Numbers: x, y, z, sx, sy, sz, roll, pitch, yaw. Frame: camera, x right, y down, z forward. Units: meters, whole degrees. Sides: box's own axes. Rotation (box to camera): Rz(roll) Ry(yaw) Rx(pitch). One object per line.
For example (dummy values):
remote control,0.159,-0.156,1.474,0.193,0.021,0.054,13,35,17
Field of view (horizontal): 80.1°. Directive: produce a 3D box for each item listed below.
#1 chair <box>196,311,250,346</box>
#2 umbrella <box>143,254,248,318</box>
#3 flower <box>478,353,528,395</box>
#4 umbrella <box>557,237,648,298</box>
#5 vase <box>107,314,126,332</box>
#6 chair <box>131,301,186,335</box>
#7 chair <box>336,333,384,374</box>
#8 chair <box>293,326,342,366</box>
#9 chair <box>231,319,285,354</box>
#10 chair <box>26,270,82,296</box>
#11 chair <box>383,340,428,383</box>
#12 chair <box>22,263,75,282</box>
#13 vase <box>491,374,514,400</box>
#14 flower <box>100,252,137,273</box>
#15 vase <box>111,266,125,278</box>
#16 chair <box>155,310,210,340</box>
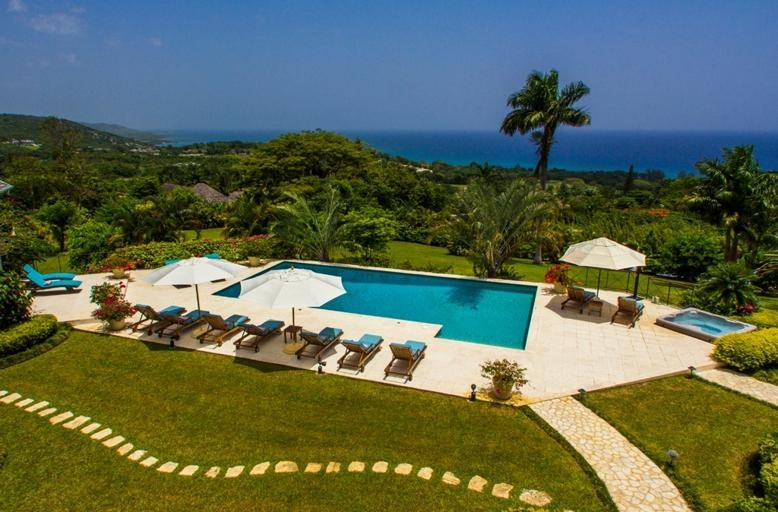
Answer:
chair,-6.342,2.705,17.634,0.897,0.834,2.153,6,18,14
umbrella,-7.233,0.756,17.837,2.994,1.646,2.664,-5,8,-10
flower,3.757,3.824,15.118,1.652,0.992,1.206,-1,6,-9
umbrella,8.995,0.485,19.440,2.167,1.380,2.190,-19,27,-37
vase,-10.508,2.605,18.021,0.674,0.401,0.620,-1,0,-4
chair,-8.957,2.397,18.385,1.168,0.926,1.739,3,9,21
chair,-1.075,3.318,16.512,1.016,0.860,1.704,8,16,21
chair,-2.523,3.042,17.204,0.921,0.911,2.326,8,15,19
chair,-4.849,2.806,17.696,0.929,0.834,2.115,7,14,19
chair,-15.614,1.213,21.726,2.095,0.811,1.427,-3,21,-22
chair,0.582,3.430,16.151,0.791,0.863,1.813,3,24,20
chair,-16.221,0.909,22.216,1.946,0.609,1.104,-1,14,-16
vase,3.556,4.134,14.896,0.821,0.565,0.810,0,4,1
flower,-13.861,0.362,23.584,1.375,0.810,1.263,6,3,13
vase,-13.515,0.855,23.288,0.599,0.395,0.556,-2,-1,-29
chair,-7.989,2.618,18.093,1.021,0.615,1.649,5,18,22
